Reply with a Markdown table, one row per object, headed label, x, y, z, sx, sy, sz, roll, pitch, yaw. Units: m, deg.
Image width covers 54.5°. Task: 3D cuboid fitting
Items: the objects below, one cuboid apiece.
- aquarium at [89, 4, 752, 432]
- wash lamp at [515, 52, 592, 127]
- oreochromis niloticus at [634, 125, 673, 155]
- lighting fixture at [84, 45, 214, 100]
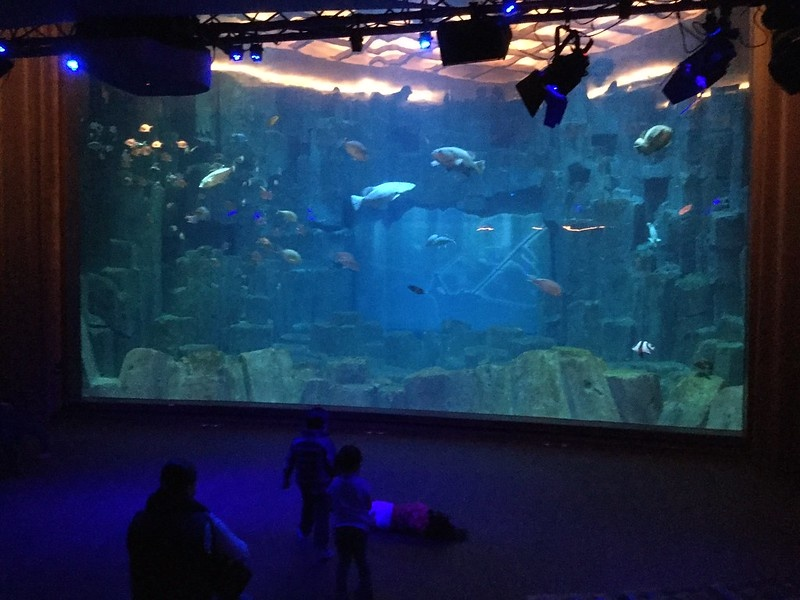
| label | x | y | z | sx | sy | sz | roll | pitch | yaw |
| --- | --- | --- | --- | --- | --- | --- | --- | --- | --- |
| aquarium | 0.644 | -2.544 | 22.812 | 16.077 | 7.966 | 0.410 | 1 | 0 | 17 |
| wash lamp | 2.380 | -3.366 | 12.035 | 0.994 | 1.270 | 0.446 | 42 | -6 | 48 |
| oreochromis niloticus | 4.149 | -2.639 | 12.635 | 0.547 | 0.531 | 1.104 | 2 | 1 | 18 |
| lighting fixture | -3.916 | -3.616 | 12.061 | 1.450 | 0.394 | 0.935 | 1 | 0 | 19 |
